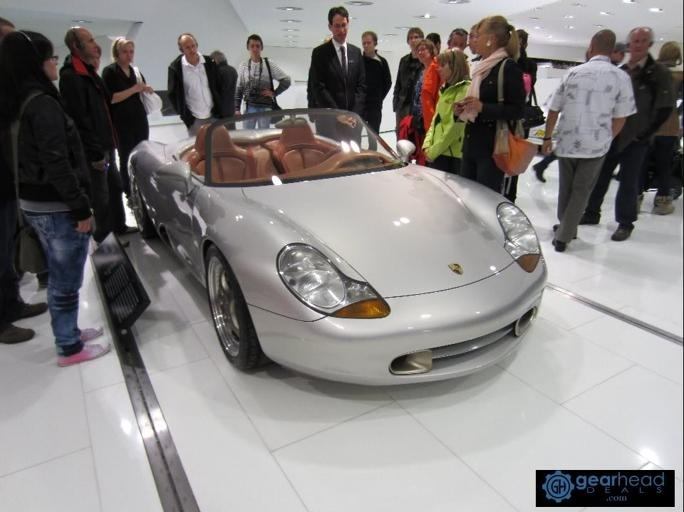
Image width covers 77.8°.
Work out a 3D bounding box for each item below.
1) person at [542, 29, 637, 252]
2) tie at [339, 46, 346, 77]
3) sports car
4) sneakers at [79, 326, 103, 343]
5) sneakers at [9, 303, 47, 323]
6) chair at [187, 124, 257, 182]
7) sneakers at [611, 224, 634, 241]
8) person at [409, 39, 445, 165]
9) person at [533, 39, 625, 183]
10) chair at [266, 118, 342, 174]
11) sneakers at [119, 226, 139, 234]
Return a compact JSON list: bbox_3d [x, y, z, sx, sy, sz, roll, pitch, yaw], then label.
[{"bbox_3d":[2.120,-1.015,3.820,0.625,1.814,0.527,-11,24,-22],"label":"person"},{"bbox_3d":[0.024,-2.200,4.798,0.078,0.311,0.067,-6,22,-11],"label":"tie"},{"bbox_3d":[-0.269,-0.226,2.747,1.411,0.945,2.675,-16,36,-30],"label":"sports car"},{"bbox_3d":[-1.638,0.505,2.802,0.061,0.061,0.158,19,27,39],"label":"sneakers"},{"bbox_3d":[-2.239,0.398,3.052,0.206,0.094,0.071,-15,35,-39],"label":"sneakers"},{"bbox_3d":[-0.816,-0.719,2.865,0.305,0.267,0.558,-15,44,-22],"label":"chair"},{"bbox_3d":[2.712,-0.216,4.113,0.108,0.139,0.324,18,24,36],"label":"sneakers"},{"bbox_3d":[0.887,-1.626,4.742,0.482,1.454,0.336,11,45,19],"label":"person"},{"bbox_3d":[2.851,-1.729,5.350,0.854,1.550,0.445,14,14,28],"label":"person"},{"bbox_3d":[-0.275,-0.725,3.016,0.414,0.531,0.448,-14,11,-24],"label":"chair"},{"bbox_3d":[-2.212,-0.275,4.472,0.202,0.087,0.071,-14,40,-33],"label":"sneakers"}]
